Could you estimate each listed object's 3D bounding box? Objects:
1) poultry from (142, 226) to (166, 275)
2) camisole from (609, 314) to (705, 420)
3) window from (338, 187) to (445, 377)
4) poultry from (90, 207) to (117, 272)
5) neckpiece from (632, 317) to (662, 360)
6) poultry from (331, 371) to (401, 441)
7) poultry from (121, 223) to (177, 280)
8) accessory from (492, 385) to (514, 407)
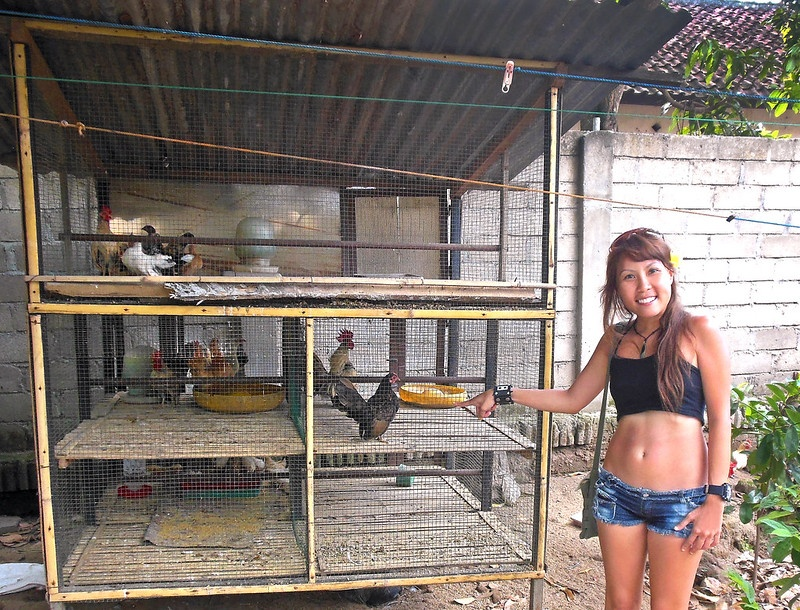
[{"bbox_3d":[-1.613,-0.375,6.016,0.192,0.155,0.382,-4,40,-17],"label":"poultry"},{"bbox_3d":[1.327,0.386,5.081,0.486,0.630,0.364,-15,-22,30],"label":"camisole"},{"bbox_3d":[-0.012,-0.211,6.845,0.745,1.306,0.195,-1,0,-18],"label":"window"},{"bbox_3d":[-1.899,-0.423,5.963,0.160,0.438,0.345,-3,5,-23],"label":"poultry"},{"bbox_3d":[1.334,0.195,5.059,0.057,0.178,0.127,5,-5,-32],"label":"neckpiece"},{"bbox_3d":[-0.204,0.637,5.969,0.493,0.446,0.304,0,25,15],"label":"poultry"},{"bbox_3d":[-1.578,-0.319,5.819,0.301,0.245,0.568,-1,5,-2],"label":"poultry"},{"bbox_3d":[0.610,0.522,5.485,0.119,0.110,0.112,6,41,10],"label":"accessory"}]
